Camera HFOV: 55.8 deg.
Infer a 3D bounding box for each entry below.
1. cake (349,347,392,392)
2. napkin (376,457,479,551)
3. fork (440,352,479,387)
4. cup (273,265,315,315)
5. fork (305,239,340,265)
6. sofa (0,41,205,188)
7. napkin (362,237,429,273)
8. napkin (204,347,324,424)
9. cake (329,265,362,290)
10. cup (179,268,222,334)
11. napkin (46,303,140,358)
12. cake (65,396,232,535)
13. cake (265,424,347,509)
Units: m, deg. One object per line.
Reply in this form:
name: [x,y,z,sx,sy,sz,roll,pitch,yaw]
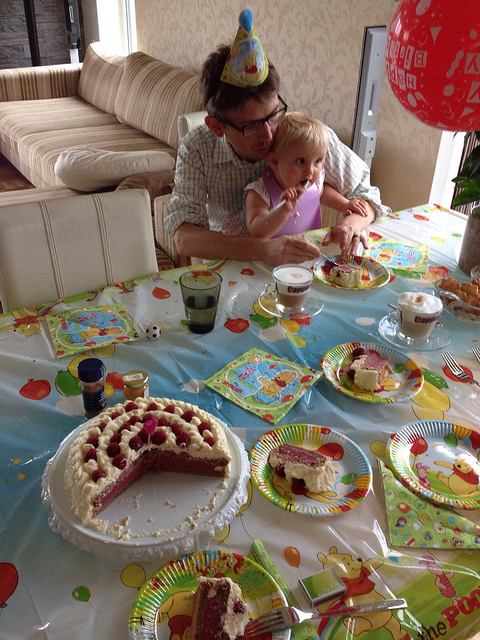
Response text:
cake: [0.268,0.096,0.931,0.064,0.039,0.109,12,31,20]
napkin: [0.273,0.274,0.657,0.124,0.012,0.141,4,27,7]
fork: [0.471,0.104,0.978,0.016,0.016,0.110,-15,32,-8]
cup: [0.132,-0.077,1.157,0.101,0.102,0.100,0,38,0]
fork: [0.248,-0.202,1.346,0.129,0.019,0.019,45,12,22]
sofa: [-1.396,-1.870,4.015,1.152,1.194,2.477,-16,31,-30]
napkin: [0.493,-0.211,1.436,0.194,0.042,0.203,10,28,18]
napkin: [0.049,0.123,0.923,0.177,0.019,0.189,19,32,32]
cake: [0.302,-0.126,1.284,0.068,0.034,0.082,10,25,5]
cup: [-0.093,-0.033,1.094,0.108,0.155,0.104,0,11,0]
napkin: [-0.346,0.019,1.062,0.180,0.027,0.179,-12,29,-23]
cake: [-0.147,0.207,0.714,0.261,0.075,0.226,-16,31,-30]
cake: [0.092,0.223,0.702,0.103,0.031,0.070,20,43,38]
